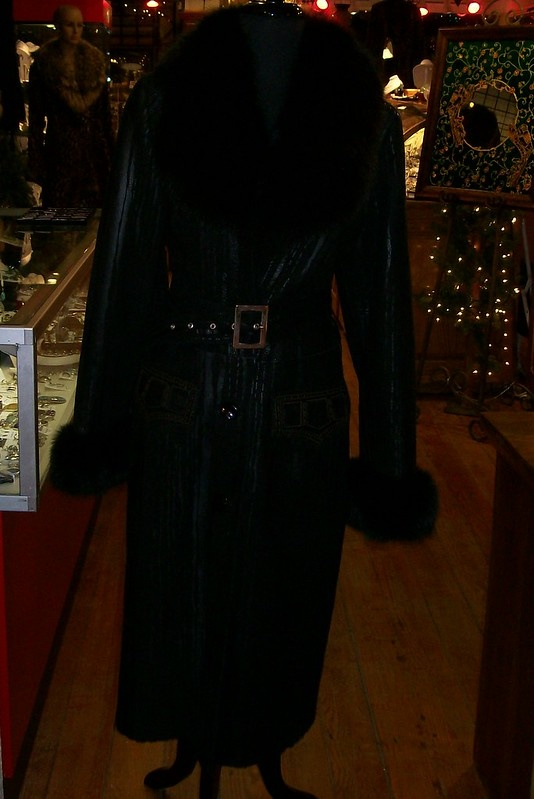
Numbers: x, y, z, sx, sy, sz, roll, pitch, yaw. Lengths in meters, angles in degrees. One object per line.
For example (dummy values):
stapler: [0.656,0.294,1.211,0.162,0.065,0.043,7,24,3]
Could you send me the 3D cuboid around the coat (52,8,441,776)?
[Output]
coat: [-0.036,0.100,0.909,0.556,1.196,0.255,-1,14,-15]
